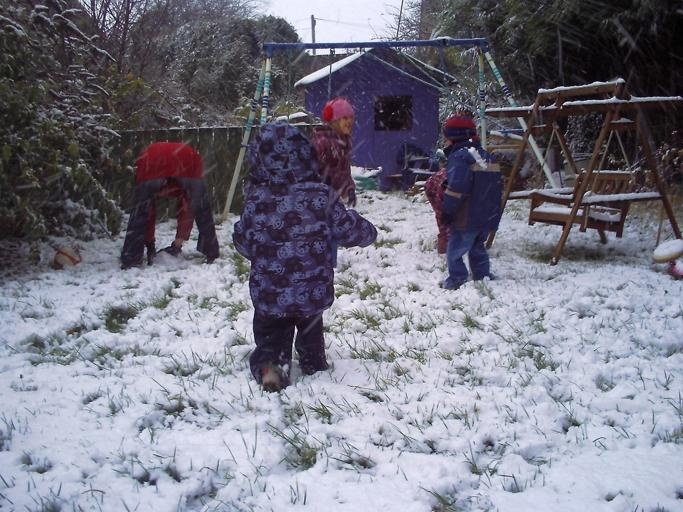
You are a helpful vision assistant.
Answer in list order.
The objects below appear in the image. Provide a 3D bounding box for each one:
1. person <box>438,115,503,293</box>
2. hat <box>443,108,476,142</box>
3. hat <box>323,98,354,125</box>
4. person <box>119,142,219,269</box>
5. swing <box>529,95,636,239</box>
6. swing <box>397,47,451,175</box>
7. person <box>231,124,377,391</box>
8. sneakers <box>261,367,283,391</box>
[{"bbox_3d":[1.400,-0.556,6.659,0.661,1.804,0.545,3,10,1],"label":"person"},{"bbox_3d":[1.302,-1.423,6.861,0.268,0.411,0.376,-4,2,-20],"label":"hat"},{"bbox_3d":[-0.024,-1.591,6.830,0.271,0.244,0.266,-16,18,-41],"label":"hat"},{"bbox_3d":[-2.207,-0.668,7.844,1.078,1.595,0.799,-6,16,-25],"label":"person"},{"bbox_3d":[2.958,-0.995,7.555,1.096,1.717,1.443,9,12,27],"label":"swing"},{"bbox_3d":[2.011,-3.423,15.809,1.783,2.746,1.925,-7,5,-13],"label":"swing"},{"bbox_3d":[-0.383,0.012,4.968,0.962,2.092,0.336,1,10,-13],"label":"person"},{"bbox_3d":[-0.559,0.956,4.948,0.125,0.212,0.073,0,-3,-5],"label":"sneakers"}]
